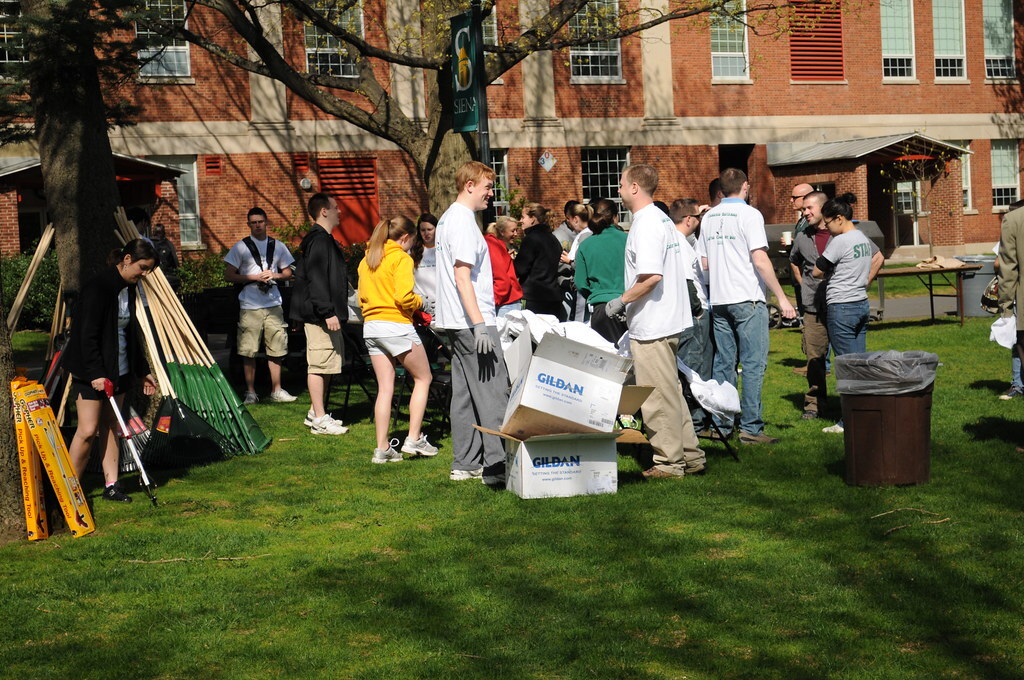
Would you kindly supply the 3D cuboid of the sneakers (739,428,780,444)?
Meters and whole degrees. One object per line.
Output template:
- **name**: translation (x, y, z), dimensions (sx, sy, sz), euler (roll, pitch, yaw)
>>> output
- **sneakers**: translation (2.775, 1.071, 12.445), dimensions (0.436, 0.177, 0.160), euler (-2, 1, -1)

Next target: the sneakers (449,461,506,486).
- **sneakers**: translation (-0.352, 1.382, 11.547), dimensions (0.585, 0.265, 0.237), euler (1, -1, 13)

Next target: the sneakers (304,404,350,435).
- **sneakers**: translation (-2.286, 1.011, 13.714), dimensions (0.615, 0.262, 0.243), euler (5, 4, 5)

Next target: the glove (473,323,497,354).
- **glove**: translation (-0.264, -0.006, 11.138), dimensions (0.197, 0.325, 0.214), euler (-2, 6, 14)

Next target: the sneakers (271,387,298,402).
- **sneakers**: translation (-3.164, 0.775, 15.505), dimensions (0.329, 0.141, 0.172), euler (0, 3, 7)

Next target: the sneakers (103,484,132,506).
- **sneakers**: translation (-4.002, 1.573, 11.315), dimensions (0.296, 0.128, 0.165), euler (-2, -2, 43)

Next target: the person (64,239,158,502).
- **person**: translation (-3.918, 0.327, 11.030), dimensions (0.943, 2.612, 0.774), euler (-4, 5, -4)

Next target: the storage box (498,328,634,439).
- **storage box**: translation (0.359, 0.511, 11.012), dimensions (1.521, 0.713, 1.479), euler (-2, -21, 23)

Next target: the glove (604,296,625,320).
- **glove**: translation (1.046, -0.331, 11.024), dimensions (0.187, 0.204, 0.304), euler (-3, 6, 7)

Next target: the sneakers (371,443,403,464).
- **sneakers**: translation (-1.384, 1.280, 12.431), dimensions (0.371, 0.168, 0.155), euler (-3, 6, -29)

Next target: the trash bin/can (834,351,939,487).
- **trash bin/can**: translation (3.800, 0.736, 11.218), dimensions (1.220, 1.377, 1.178), euler (-2, 2, -26)

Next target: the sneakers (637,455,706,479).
- **sneakers**: translation (1.655, 1.322, 11.423), dimensions (0.664, 0.179, 0.224), euler (2, -24, -10)

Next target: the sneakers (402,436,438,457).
- **sneakers**: translation (-1.039, 1.196, 12.488), dimensions (0.439, 0.223, 0.184), euler (3, 7, -20)
